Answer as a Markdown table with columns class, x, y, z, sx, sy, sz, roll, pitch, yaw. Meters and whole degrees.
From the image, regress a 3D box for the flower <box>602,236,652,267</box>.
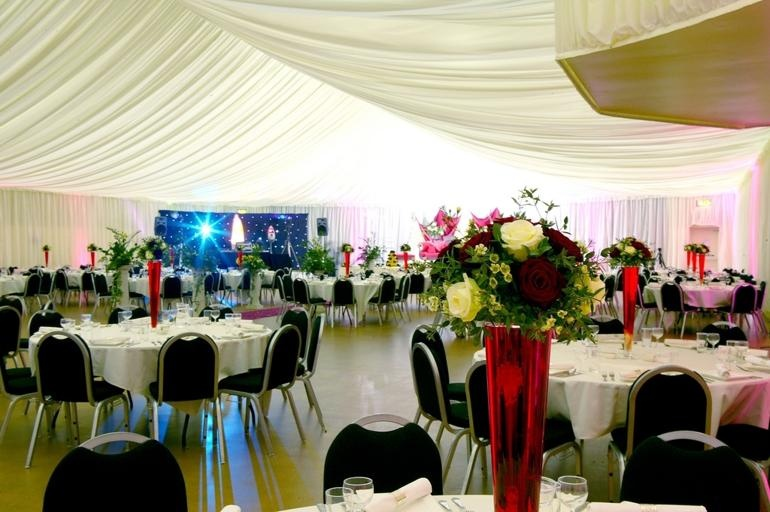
| class | x | y | z | sx | sy | sz | roll | pitch | yaw |
| --- | --- | --- | --- | --- | --- | --- | --- | --- | --- |
| flower | 2.067 | -0.036 | 4.593 | 0.293 | 0.252 | 0.715 | -3 | -1 | 29 |

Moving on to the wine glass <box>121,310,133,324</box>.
| class | x | y | z | sx | sy | sz | roll | pitch | yaw |
| --- | --- | --- | --- | --- | --- | --- | --- | --- | --- |
| wine glass | -2.735 | 0.655 | 5.779 | 0.115 | 0.135 | 0.115 | 0 | -4 | 6 |

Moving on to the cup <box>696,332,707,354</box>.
| class | x | y | z | sx | sy | sz | roll | pitch | yaw |
| --- | --- | --- | --- | --- | --- | --- | --- | --- | --- |
| cup | 2.748 | 0.739 | 4.758 | 0.083 | 0.168 | 0.357 | -2 | -1 | 30 |

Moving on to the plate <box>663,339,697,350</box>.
| class | x | y | z | sx | sy | sz | roll | pitch | yaw |
| --- | --- | --- | --- | --- | --- | --- | --- | --- | --- |
| plate | 2.634 | 0.796 | 4.891 | 0.251 | 0.084 | 0.291 | -3 | -1 | 29 |

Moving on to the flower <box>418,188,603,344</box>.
| class | x | y | z | sx | sy | sz | roll | pitch | yaw |
| --- | --- | --- | --- | --- | --- | --- | --- | --- | --- |
| flower | 0.603 | -0.086 | 2.580 | 0.670 | 0.646 | 0.701 | -2 | 18 | 11 |

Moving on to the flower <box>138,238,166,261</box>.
| class | x | y | z | sx | sy | sz | roll | pitch | yaw |
| --- | --- | --- | --- | --- | --- | --- | --- | --- | --- |
| flower | -2.576 | -0.092 | 6.060 | 0.278 | 0.305 | 0.270 | -2 | 19 | -27 |

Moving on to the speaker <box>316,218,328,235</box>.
| class | x | y | z | sx | sy | sz | roll | pitch | yaw |
| --- | --- | --- | --- | --- | --- | --- | --- | --- | --- |
| speaker | -2.351 | -1.108 | 20.784 | 0.454 | 0.687 | 0.207 | -2 | 0 | -30 |

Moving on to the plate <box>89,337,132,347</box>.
| class | x | y | z | sx | sy | sz | roll | pitch | yaw |
| --- | --- | --- | --- | --- | --- | --- | --- | --- | --- |
| plate | -2.448 | 0.763 | 4.857 | 0.361 | 0.069 | 0.193 | -3 | -1 | 0 |

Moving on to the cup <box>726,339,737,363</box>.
| class | x | y | z | sx | sy | sz | roll | pitch | yaw |
| --- | --- | --- | --- | --- | --- | --- | --- | --- | --- |
| cup | 2.694 | 0.752 | 4.273 | 0.085 | 0.172 | 0.056 | -2 | 0 | 6 |
